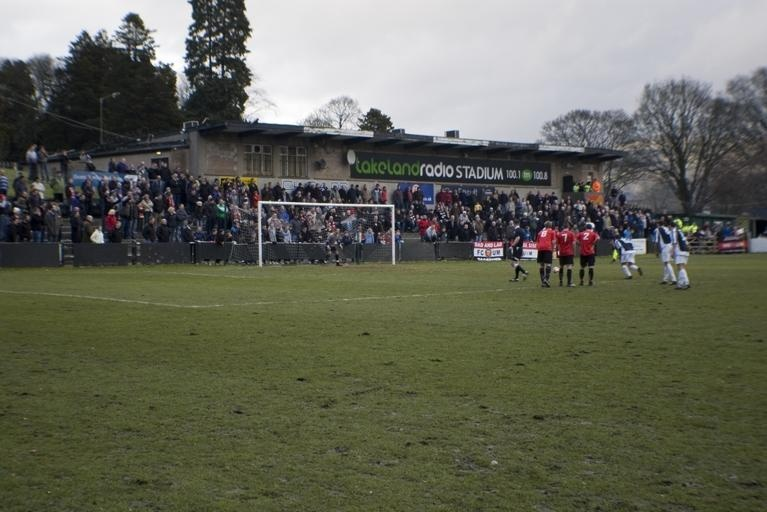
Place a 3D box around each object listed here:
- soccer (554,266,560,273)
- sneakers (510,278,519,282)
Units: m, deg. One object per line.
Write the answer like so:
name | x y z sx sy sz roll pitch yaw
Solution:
soccer | 6.001 0.464 30.660 0.209 0.185 0.231 2 10 40
sneakers | 4.202 0.766 28.517 0.268 0.109 0.101 2 0 42
